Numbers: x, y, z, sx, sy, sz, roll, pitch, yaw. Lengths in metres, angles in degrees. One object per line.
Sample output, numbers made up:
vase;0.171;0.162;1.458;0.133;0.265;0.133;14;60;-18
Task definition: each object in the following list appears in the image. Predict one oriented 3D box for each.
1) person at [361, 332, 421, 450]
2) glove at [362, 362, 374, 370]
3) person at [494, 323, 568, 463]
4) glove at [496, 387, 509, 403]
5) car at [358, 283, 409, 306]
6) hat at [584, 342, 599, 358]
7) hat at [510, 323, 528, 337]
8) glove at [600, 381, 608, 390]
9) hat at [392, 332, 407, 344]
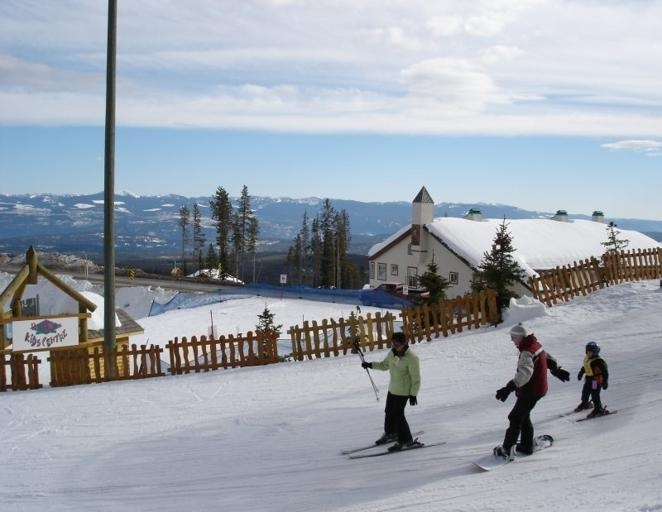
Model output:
person;1.410;2.850;16.424;0.985;2.542;1.029;-3;11;2
glove;0.814;2.413;16.814;0.190;0.055;0.200;9;-25;3
person;4.011;2.736;15.628;0.904;2.750;1.369;5;13;34
glove;3.504;2.824;15.439;0.233;0.341;0.369;-1;11;9
car;3.300;2.461;46.058;2.466;1.016;1.319;5;2;33
hat;6.095;2.152;17.488;0.325;0.330;0.272;1;2;-9
hat;3.886;1.553;15.565;0.327;0.394;0.413;0;11;17
glove;6.216;2.924;17.046;0.187;0.247;0.249;-3;-7;9
hat;1.481;1.744;16.210;0.302;0.298;0.232;-8;8;-10
